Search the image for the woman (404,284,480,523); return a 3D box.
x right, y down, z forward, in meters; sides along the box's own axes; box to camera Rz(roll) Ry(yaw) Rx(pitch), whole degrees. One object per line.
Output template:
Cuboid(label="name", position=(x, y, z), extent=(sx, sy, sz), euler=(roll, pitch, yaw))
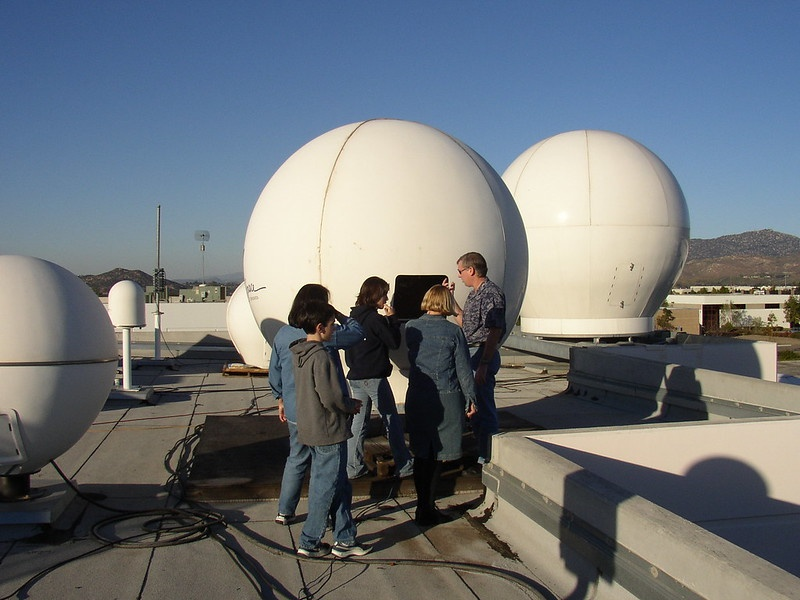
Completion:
Cuboid(label="woman", position=(0.307, 0.800, 4.634), extent=(0.537, 1.825, 0.392), euler=(1, 3, -1))

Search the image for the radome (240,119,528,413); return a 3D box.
Cuboid(label="radome", position=(-0.188, -0.382, 7.030), extent=(2.620, 3.434, 2.887), euler=(-1, -1, 4))

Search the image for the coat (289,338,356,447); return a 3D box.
Cuboid(label="coat", position=(-0.536, 0.628, 4.100), extent=(0.418, 0.700, 0.504), euler=(-2, -4, -31))

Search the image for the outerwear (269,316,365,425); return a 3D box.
Cuboid(label="outerwear", position=(-0.587, 0.498, 4.243), extent=(0.729, 0.823, 0.482), euler=(4, 11, 27))

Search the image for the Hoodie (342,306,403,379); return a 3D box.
Cuboid(label="Hoodie", position=(-0.226, 0.364, 5.147), extent=(0.411, 0.663, 0.480), euler=(8, -10, -35))

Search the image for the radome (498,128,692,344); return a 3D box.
Cuboid(label="radome", position=(4.881, -1.674, 15.118), extent=(4.581, 5.658, 4.596), euler=(-1, 1, -38))

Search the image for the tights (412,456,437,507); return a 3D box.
Cuboid(label="tights", position=(0.198, 1.480, 4.546), extent=(0.173, 0.146, 0.554), euler=(-9, 47, 4))

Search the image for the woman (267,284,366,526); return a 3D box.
Cuboid(label="woman", position=(-0.645, 0.840, 4.490), extent=(0.684, 1.927, 0.589), euler=(5, 16, 12))

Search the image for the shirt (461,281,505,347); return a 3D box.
Cuboid(label="shirt", position=(0.729, 0.132, 5.381), extent=(0.296, 0.597, 0.608), euler=(-2, 1, -20))
